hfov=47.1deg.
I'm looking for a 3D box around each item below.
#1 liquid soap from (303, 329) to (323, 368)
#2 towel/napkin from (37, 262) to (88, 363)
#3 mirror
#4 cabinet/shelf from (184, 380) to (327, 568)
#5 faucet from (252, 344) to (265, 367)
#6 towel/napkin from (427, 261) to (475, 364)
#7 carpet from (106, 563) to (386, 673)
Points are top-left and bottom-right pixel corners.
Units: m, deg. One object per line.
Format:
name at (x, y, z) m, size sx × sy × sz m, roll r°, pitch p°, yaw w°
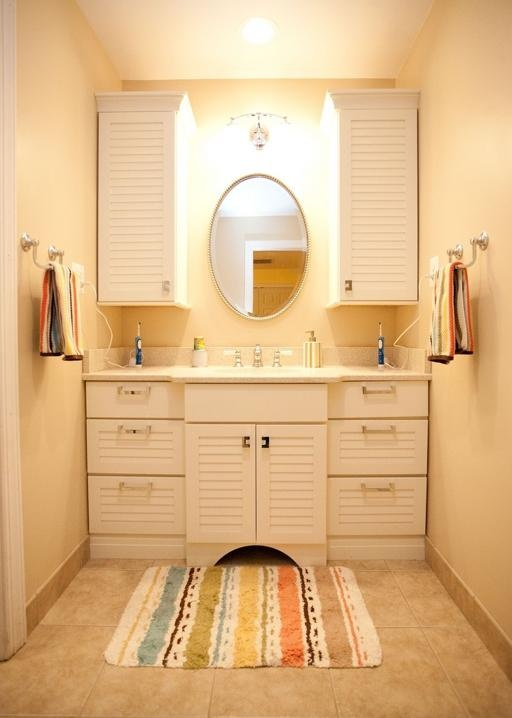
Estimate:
liquid soap at (0.267, -0.046, 2.815) m, size 0.079 × 0.165 × 0.237 m, roll -1°, pitch 5°, yaw 4°
towel/napkin at (-0.675, -0.158, 2.017) m, size 0.139 × 0.324 × 0.204 m, roll -3°, pitch 5°, yaw -20°
mirror at (0.021, -0.574, 2.895) m, size 0.588 × 1.000 × 0.041 m, roll 0°, pitch 4°, yaw -3°
cabinet/shelf at (0.003, 0.414, 2.544) m, size 0.669 × 1.027 × 0.526 m, roll 0°, pitch -2°, yaw 0°
faucet at (0.008, -0.013, 2.849) m, size 0.046 × 0.102 × 0.132 m, roll -1°, pitch 5°, yaw 0°
towel/napkin at (0.639, -0.152, 1.939) m, size 0.169 × 0.323 × 0.137 m, roll 3°, pitch 6°, yaw 42°
carpet at (-0.034, 0.857, 1.970) m, size 0.837 × 0.045 × 0.536 m, roll -1°, pitch 5°, yaw 1°
